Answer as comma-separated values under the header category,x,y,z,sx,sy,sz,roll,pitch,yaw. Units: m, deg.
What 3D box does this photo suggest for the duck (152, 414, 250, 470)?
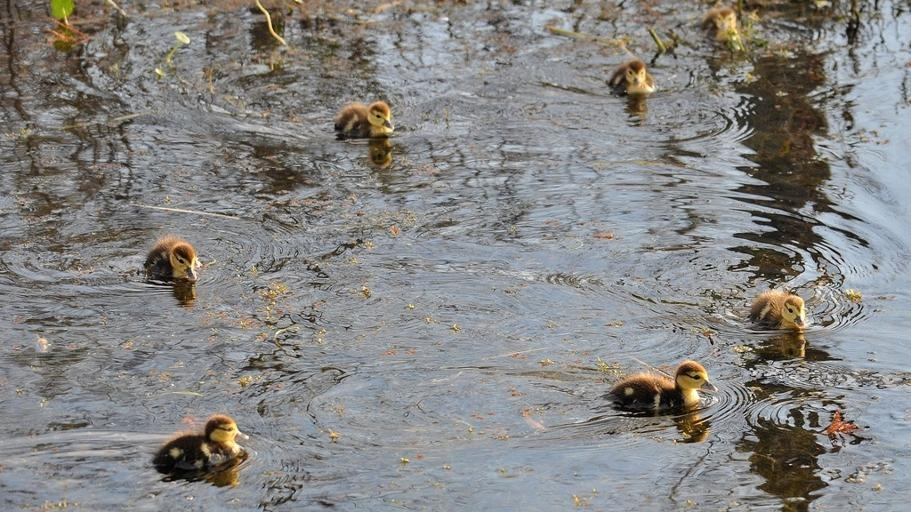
category,x,y,z,sx,sy,sz,roll,pitch,yaw
duck,-3.336,2.522,11.578,1.135,0.522,0.718,-30,60,-27

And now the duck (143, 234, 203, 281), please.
category,x,y,z,sx,sy,sz,roll,pitch,yaw
duck,-4.761,0.026,14.552,0.830,0.515,0.997,-15,35,-32

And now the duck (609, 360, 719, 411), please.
category,x,y,z,sx,sy,sz,roll,pitch,yaw
duck,2.915,1.834,12.311,1.423,0.587,0.600,-4,54,-8

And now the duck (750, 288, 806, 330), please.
category,x,y,z,sx,sy,sz,roll,pitch,yaw
duck,5.003,0.784,13.650,0.777,0.438,0.779,-8,28,-11

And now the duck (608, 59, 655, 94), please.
category,x,y,z,sx,sy,sz,roll,pitch,yaw
duck,3.859,-3.888,18.980,1.213,0.484,0.931,0,27,-3

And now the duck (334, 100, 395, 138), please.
category,x,y,z,sx,sy,sz,roll,pitch,yaw
duck,-1.917,-2.845,17.955,1.166,0.698,0.900,-7,52,-10

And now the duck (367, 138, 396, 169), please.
category,x,y,z,sx,sy,sz,roll,pitch,yaw
duck,-1.466,-2.057,17.556,0.784,0.221,0.669,-3,33,1
